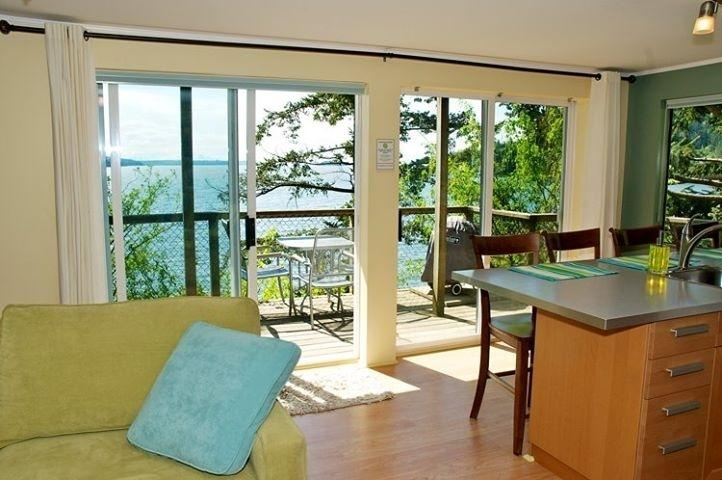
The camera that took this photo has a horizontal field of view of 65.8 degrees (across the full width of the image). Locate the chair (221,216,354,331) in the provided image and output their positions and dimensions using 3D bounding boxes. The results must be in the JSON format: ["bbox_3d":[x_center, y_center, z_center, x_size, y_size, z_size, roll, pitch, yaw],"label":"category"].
[{"bbox_3d":[-0.849,0.317,5.785,1.065,1.411,0.929,0,4,-23],"label":"chair"}]

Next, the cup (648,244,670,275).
[{"bbox_3d":[2.141,0.136,4.017,0.121,0.206,0.164,1,8,25],"label":"cup"}]

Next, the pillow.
[{"bbox_3d":[-0.755,0.924,3.131,0.814,0.759,0.248,14,-25,26],"label":"pillow"}]
